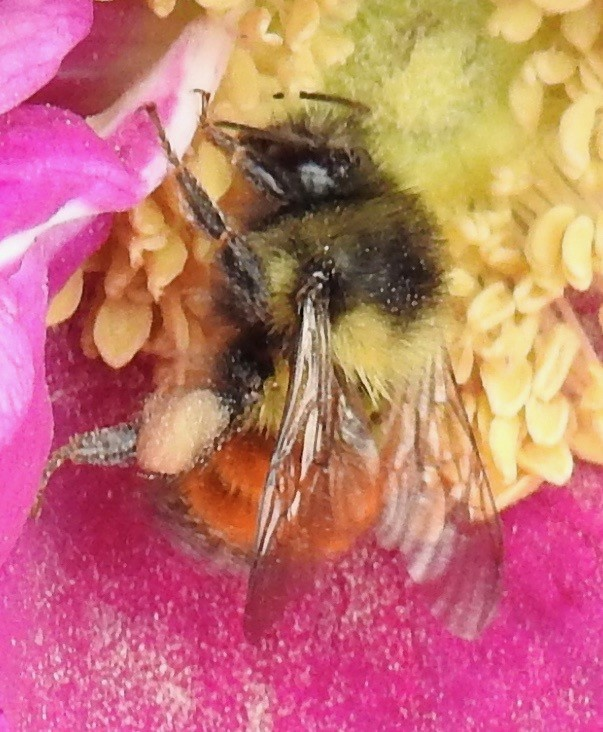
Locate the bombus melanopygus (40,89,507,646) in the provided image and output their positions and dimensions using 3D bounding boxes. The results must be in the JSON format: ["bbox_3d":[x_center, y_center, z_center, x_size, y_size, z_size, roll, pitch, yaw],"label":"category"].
[{"bbox_3d":[-0.002,0.001,0.590,0.220,0.098,0.322,5,87,-43],"label":"bombus melanopygus"}]
